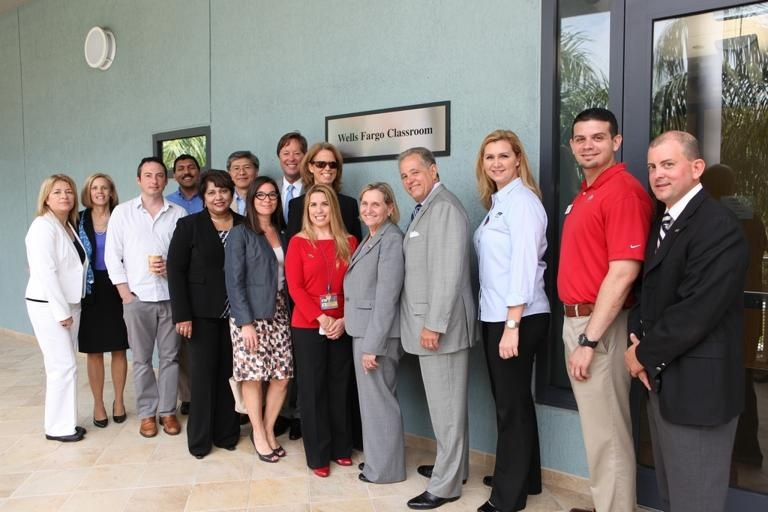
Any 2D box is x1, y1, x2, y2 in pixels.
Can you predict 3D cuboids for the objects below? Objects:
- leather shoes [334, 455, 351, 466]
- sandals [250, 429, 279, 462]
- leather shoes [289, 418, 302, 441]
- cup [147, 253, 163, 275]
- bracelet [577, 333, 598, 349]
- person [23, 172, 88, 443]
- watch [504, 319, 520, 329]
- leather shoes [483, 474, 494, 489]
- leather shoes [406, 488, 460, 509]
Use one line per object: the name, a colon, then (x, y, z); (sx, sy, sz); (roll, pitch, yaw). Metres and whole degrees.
leather shoes: (-0.334, 1.669, 4.908); (0.117, 0.049, 0.059); (-4, -3, 32)
sandals: (-1.002, 1.574, 5.042); (0.130, 0.071, 0.356); (0, 24, -38)
leather shoes: (-0.784, 1.540, 5.349); (0.098, 0.117, 0.289); (1, -9, -6)
cup: (-2.025, 0.078, 5.389); (0.133, 0.183, 0.121); (-7, 15, -24)
bracelet: (1.309, 0.557, 3.909); (0.114, 0.080, 0.120); (14, -8, -26)
person: (-2.914, 0.458, 5.391); (0.464, 2.304, 0.738); (-4, 14, -11)
watch: (0.870, 0.463, 4.118); (0.069, 0.056, 0.068); (3, 2, 19)
leather shoes: (0.785, 1.712, 4.579); (0.057, 0.070, 0.175); (1, 3, 3)
leather shoes: (0.362, 1.796, 4.492); (0.379, 0.167, 0.143); (6, -7, -9)
